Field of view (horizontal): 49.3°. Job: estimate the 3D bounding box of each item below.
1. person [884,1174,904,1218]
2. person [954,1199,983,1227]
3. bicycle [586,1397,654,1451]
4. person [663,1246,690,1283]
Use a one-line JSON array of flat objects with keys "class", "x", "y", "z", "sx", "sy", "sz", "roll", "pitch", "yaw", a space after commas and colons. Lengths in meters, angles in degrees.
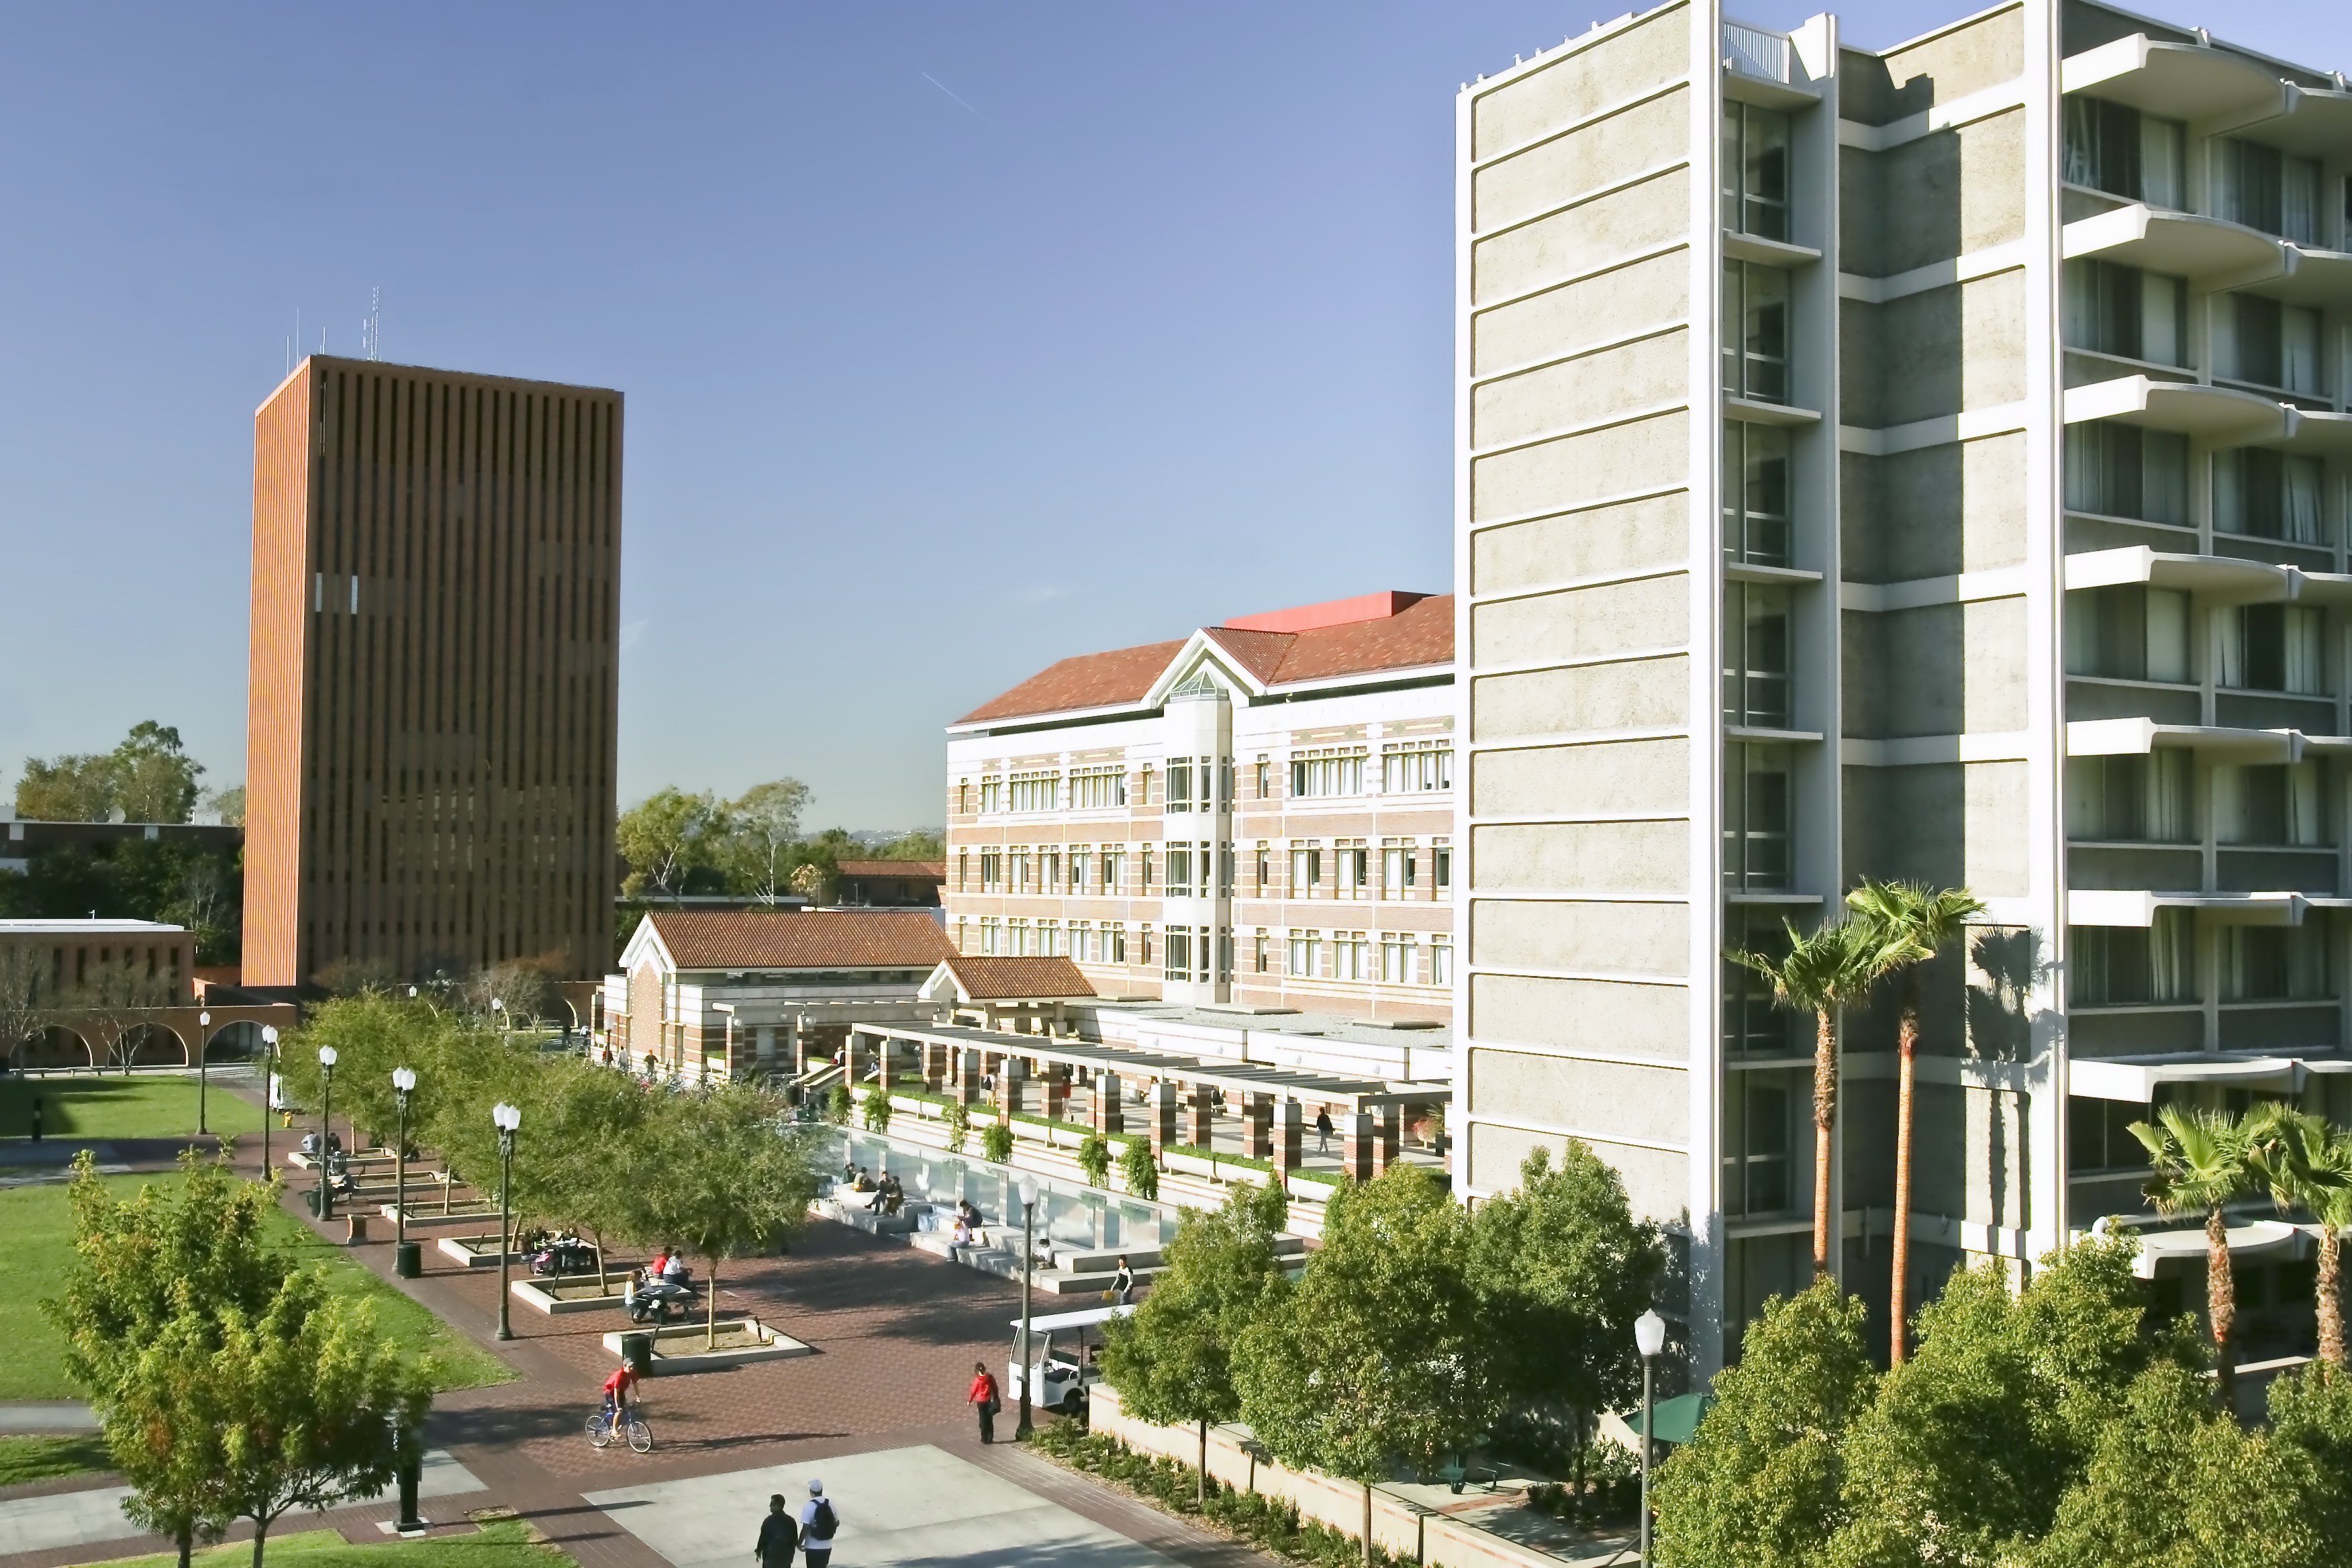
[{"class": "person", "x": -8.430, "y": 12.223, "z": 75.987, "sx": 0.530, "sy": 1.116, "sz": 1.214, "roll": -10, "pitch": 3, "yaw": 10}, {"class": "person", "x": -5.912, "y": 12.122, "z": 72.306, "sx": 0.619, "sy": 0.693, "sz": 0.717, "roll": 6, "pitch": -9, "yaw": 5}, {"class": "bicycle", "x": -11.742, "y": 13.694, "z": 54.526, "sx": 1.489, "sy": 0.856, "sz": 0.726, "roll": -6, "pitch": -9, "yaw": 31}, {"class": "person", "x": -12.429, "y": 11.882, "z": 63.277, "sx": 0.589, "sy": 0.903, "sz": 0.815, "roll": -11, "pitch": 3, "yaw": -20}]
